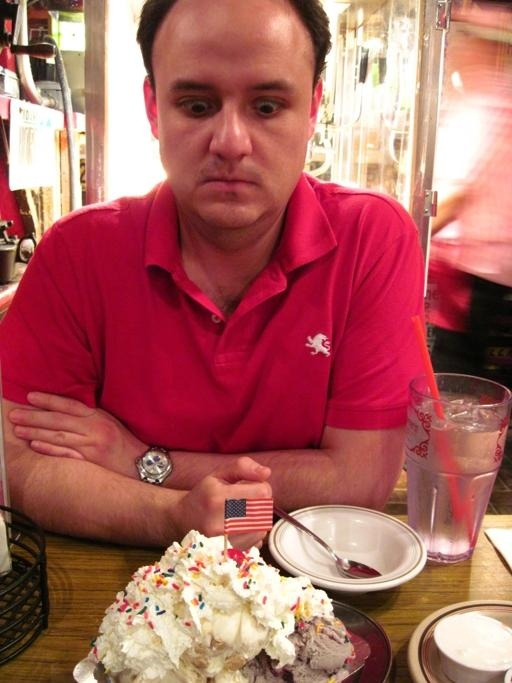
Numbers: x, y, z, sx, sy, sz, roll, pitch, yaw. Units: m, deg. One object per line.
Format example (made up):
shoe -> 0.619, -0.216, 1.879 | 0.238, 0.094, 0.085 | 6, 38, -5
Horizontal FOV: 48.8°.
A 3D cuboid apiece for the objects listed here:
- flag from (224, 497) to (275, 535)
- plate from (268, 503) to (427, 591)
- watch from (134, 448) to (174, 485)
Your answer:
flag -> -0.011, 0.254, 0.826 | 0.009, 0.063, 0.111 | -11, -12, 42
plate -> 0.147, 0.357, 0.949 | 0.258, 0.054, 0.248 | 3, 10, 1
watch -> -0.239, 0.289, 1.316 | 0.076, 0.057, 0.088 | -1, 13, -20
